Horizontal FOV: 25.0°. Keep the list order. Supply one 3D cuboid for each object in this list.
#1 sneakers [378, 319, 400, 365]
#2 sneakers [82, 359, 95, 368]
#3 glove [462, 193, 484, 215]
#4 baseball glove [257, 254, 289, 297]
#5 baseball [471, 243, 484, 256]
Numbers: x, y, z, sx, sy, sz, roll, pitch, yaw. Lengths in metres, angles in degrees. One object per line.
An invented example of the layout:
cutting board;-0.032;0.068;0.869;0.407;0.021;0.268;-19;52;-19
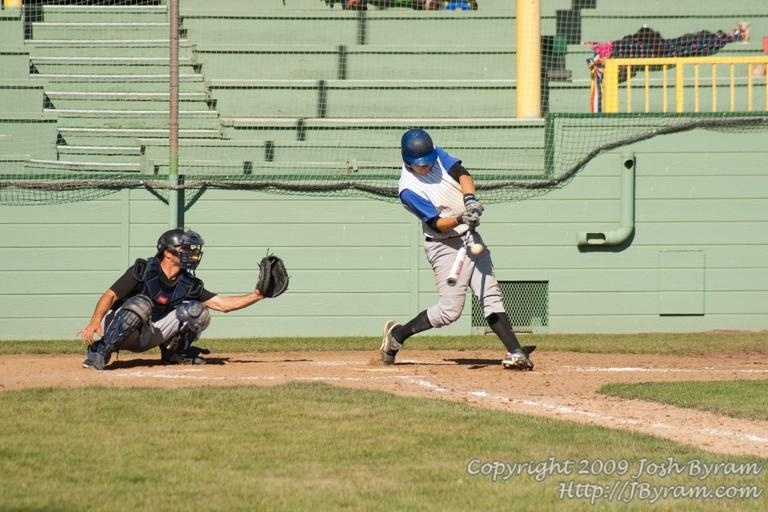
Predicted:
sneakers;0.117;1.288;25.740;0.297;0.666;0.233;11;2;40
sneakers;-4.293;1.595;25.293;0.102;0.084;0.234;-5;-4;7
glove;1.312;-0.707;24.953;0.258;0.325;0.163;-14;-28;-3
baseball glove;-1.602;0.300;25.067;0.450;0.608;0.259;-2;6;-5
baseball;1.373;-0.099;24.952;0.159;0.156;0.187;-33;4;18
